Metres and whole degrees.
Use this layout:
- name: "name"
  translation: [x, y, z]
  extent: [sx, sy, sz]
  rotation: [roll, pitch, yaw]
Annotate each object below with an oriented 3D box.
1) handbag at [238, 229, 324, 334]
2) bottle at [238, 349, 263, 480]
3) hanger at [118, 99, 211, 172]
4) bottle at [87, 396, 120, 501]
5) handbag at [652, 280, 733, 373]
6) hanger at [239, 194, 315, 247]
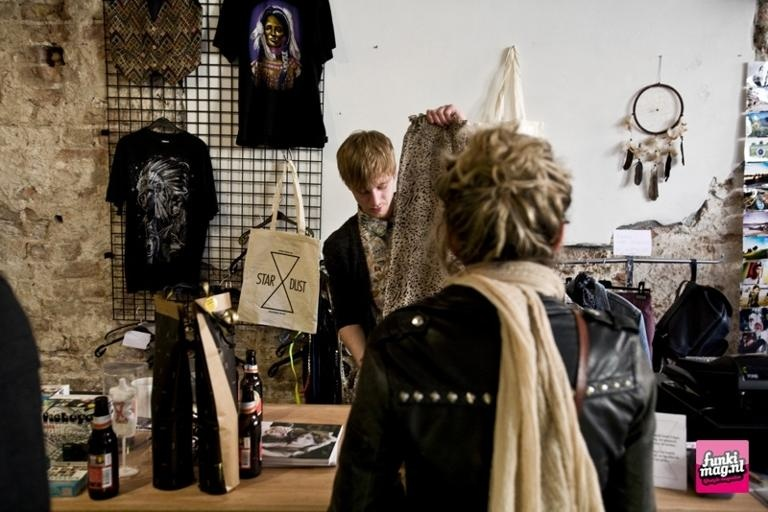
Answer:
- name: "handbag"
  translation: [-0.543, 0.134, 4.522]
  extent: [0.473, 0.714, 0.250]
  rotation: [10, 16, 7]
- name: "bottle"
  translation: [-0.634, 0.761, 4.020]
  extent: [0.106, 0.603, 0.205]
  rotation: [0, 2, -8]
- name: "hanger"
  translation: [-1.401, -0.774, 5.275]
  extent: [0.458, 0.342, 0.017]
  rotation: [-1, 5, 3]
- name: "bottle"
  translation: [-1.291, 0.889, 3.860]
  extent: [0.136, 0.490, 0.102]
  rotation: [0, 2, -19]
- name: "handbag"
  translation: [1.866, 0.432, 5.020]
  extent: [0.232, 0.402, 0.348]
  rotation: [31, 12, -31]
- name: "hanger"
  translation: [-0.674, -0.194, 5.256]
  extent: [0.486, 0.244, 0.008]
  rotation: [-4, -30, 14]
